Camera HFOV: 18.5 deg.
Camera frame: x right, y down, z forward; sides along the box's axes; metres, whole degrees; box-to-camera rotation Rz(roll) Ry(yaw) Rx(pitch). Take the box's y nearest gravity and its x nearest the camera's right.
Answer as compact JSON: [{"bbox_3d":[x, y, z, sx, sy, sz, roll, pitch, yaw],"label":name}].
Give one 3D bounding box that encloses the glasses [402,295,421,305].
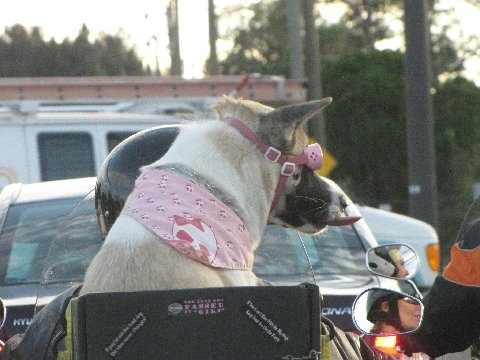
[{"bbox_3d":[1.288,0.912,11.149,0.084,0.065,0.032,5,41,4],"label":"glasses"}]
